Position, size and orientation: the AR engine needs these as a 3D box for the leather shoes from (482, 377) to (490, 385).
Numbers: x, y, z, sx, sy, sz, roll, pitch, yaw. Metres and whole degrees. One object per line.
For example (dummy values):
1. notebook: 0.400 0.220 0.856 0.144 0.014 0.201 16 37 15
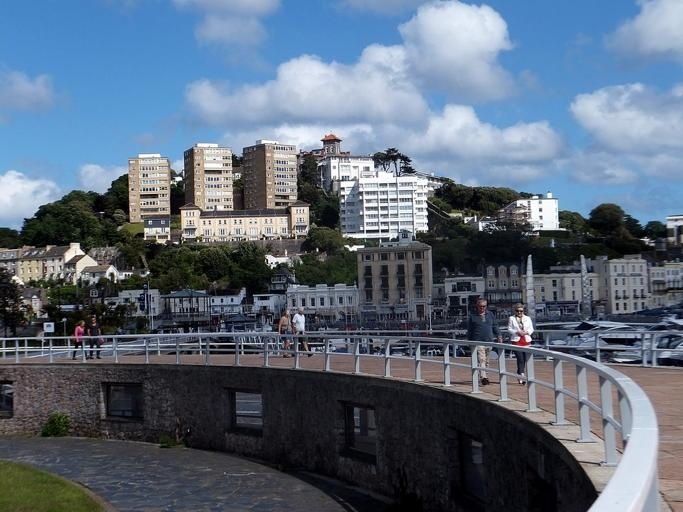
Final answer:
1. leather shoes: 3.564 3.088 25.137 0.188 0.185 0.232 0 4 -4
